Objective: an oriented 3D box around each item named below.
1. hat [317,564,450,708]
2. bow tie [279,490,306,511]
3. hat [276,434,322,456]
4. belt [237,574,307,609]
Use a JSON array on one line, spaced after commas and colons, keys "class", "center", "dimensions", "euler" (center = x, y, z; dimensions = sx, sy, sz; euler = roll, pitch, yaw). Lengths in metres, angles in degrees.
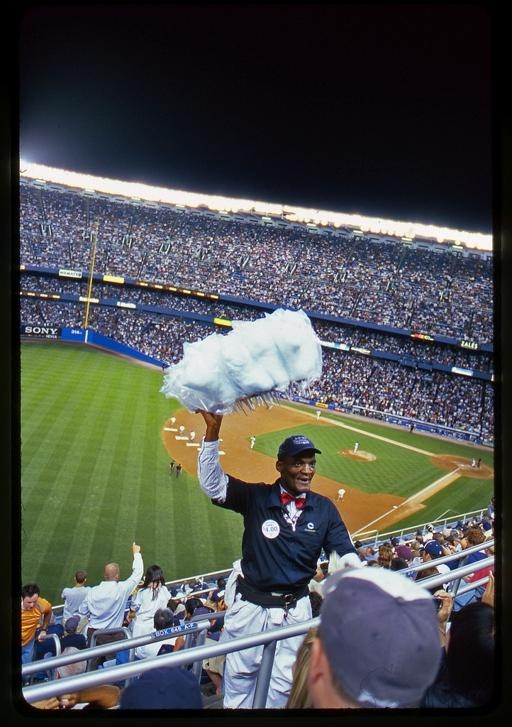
[{"class": "hat", "center": [0.230, 0.492, 1.133], "dimensions": [0.193, 0.272, 0.150], "euler": [-1, -23, -2]}, {"class": "bow tie", "center": [0.139, 0.519, 2.224], "dimensions": [0.077, 0.055, 0.019], "euler": [4, -21, -3]}, {"class": "hat", "center": [0.155, 0.321, 2.300], "dimensions": [0.095, 0.061, 0.125], "euler": [4, -16, -20]}, {"class": "belt", "center": [0.057, 0.837, 2.142], "dimensions": [0.258, 0.078, 0.095], "euler": [12, 6, 0]}]
